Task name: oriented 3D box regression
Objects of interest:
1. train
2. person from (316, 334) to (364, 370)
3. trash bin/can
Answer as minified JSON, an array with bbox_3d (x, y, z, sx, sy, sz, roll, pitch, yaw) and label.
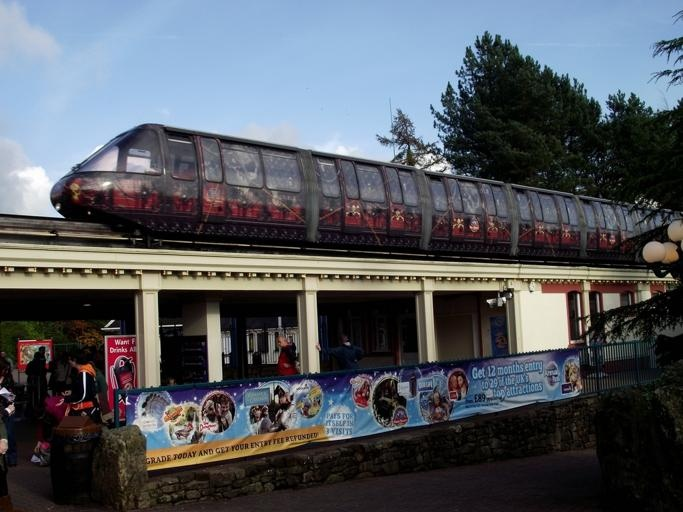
[{"bbox_3d":[1.547,-1.462,22.431,19.675,3.664,1.596,-1,10,-37],"label":"train"},{"bbox_3d":[0.076,2.402,17.376,0.788,1.069,1.162,6,9,3],"label":"person"},{"bbox_3d":[-4.741,3.591,12.569,0.748,1.387,0.581,3,8,-16],"label":"trash bin/can"}]
